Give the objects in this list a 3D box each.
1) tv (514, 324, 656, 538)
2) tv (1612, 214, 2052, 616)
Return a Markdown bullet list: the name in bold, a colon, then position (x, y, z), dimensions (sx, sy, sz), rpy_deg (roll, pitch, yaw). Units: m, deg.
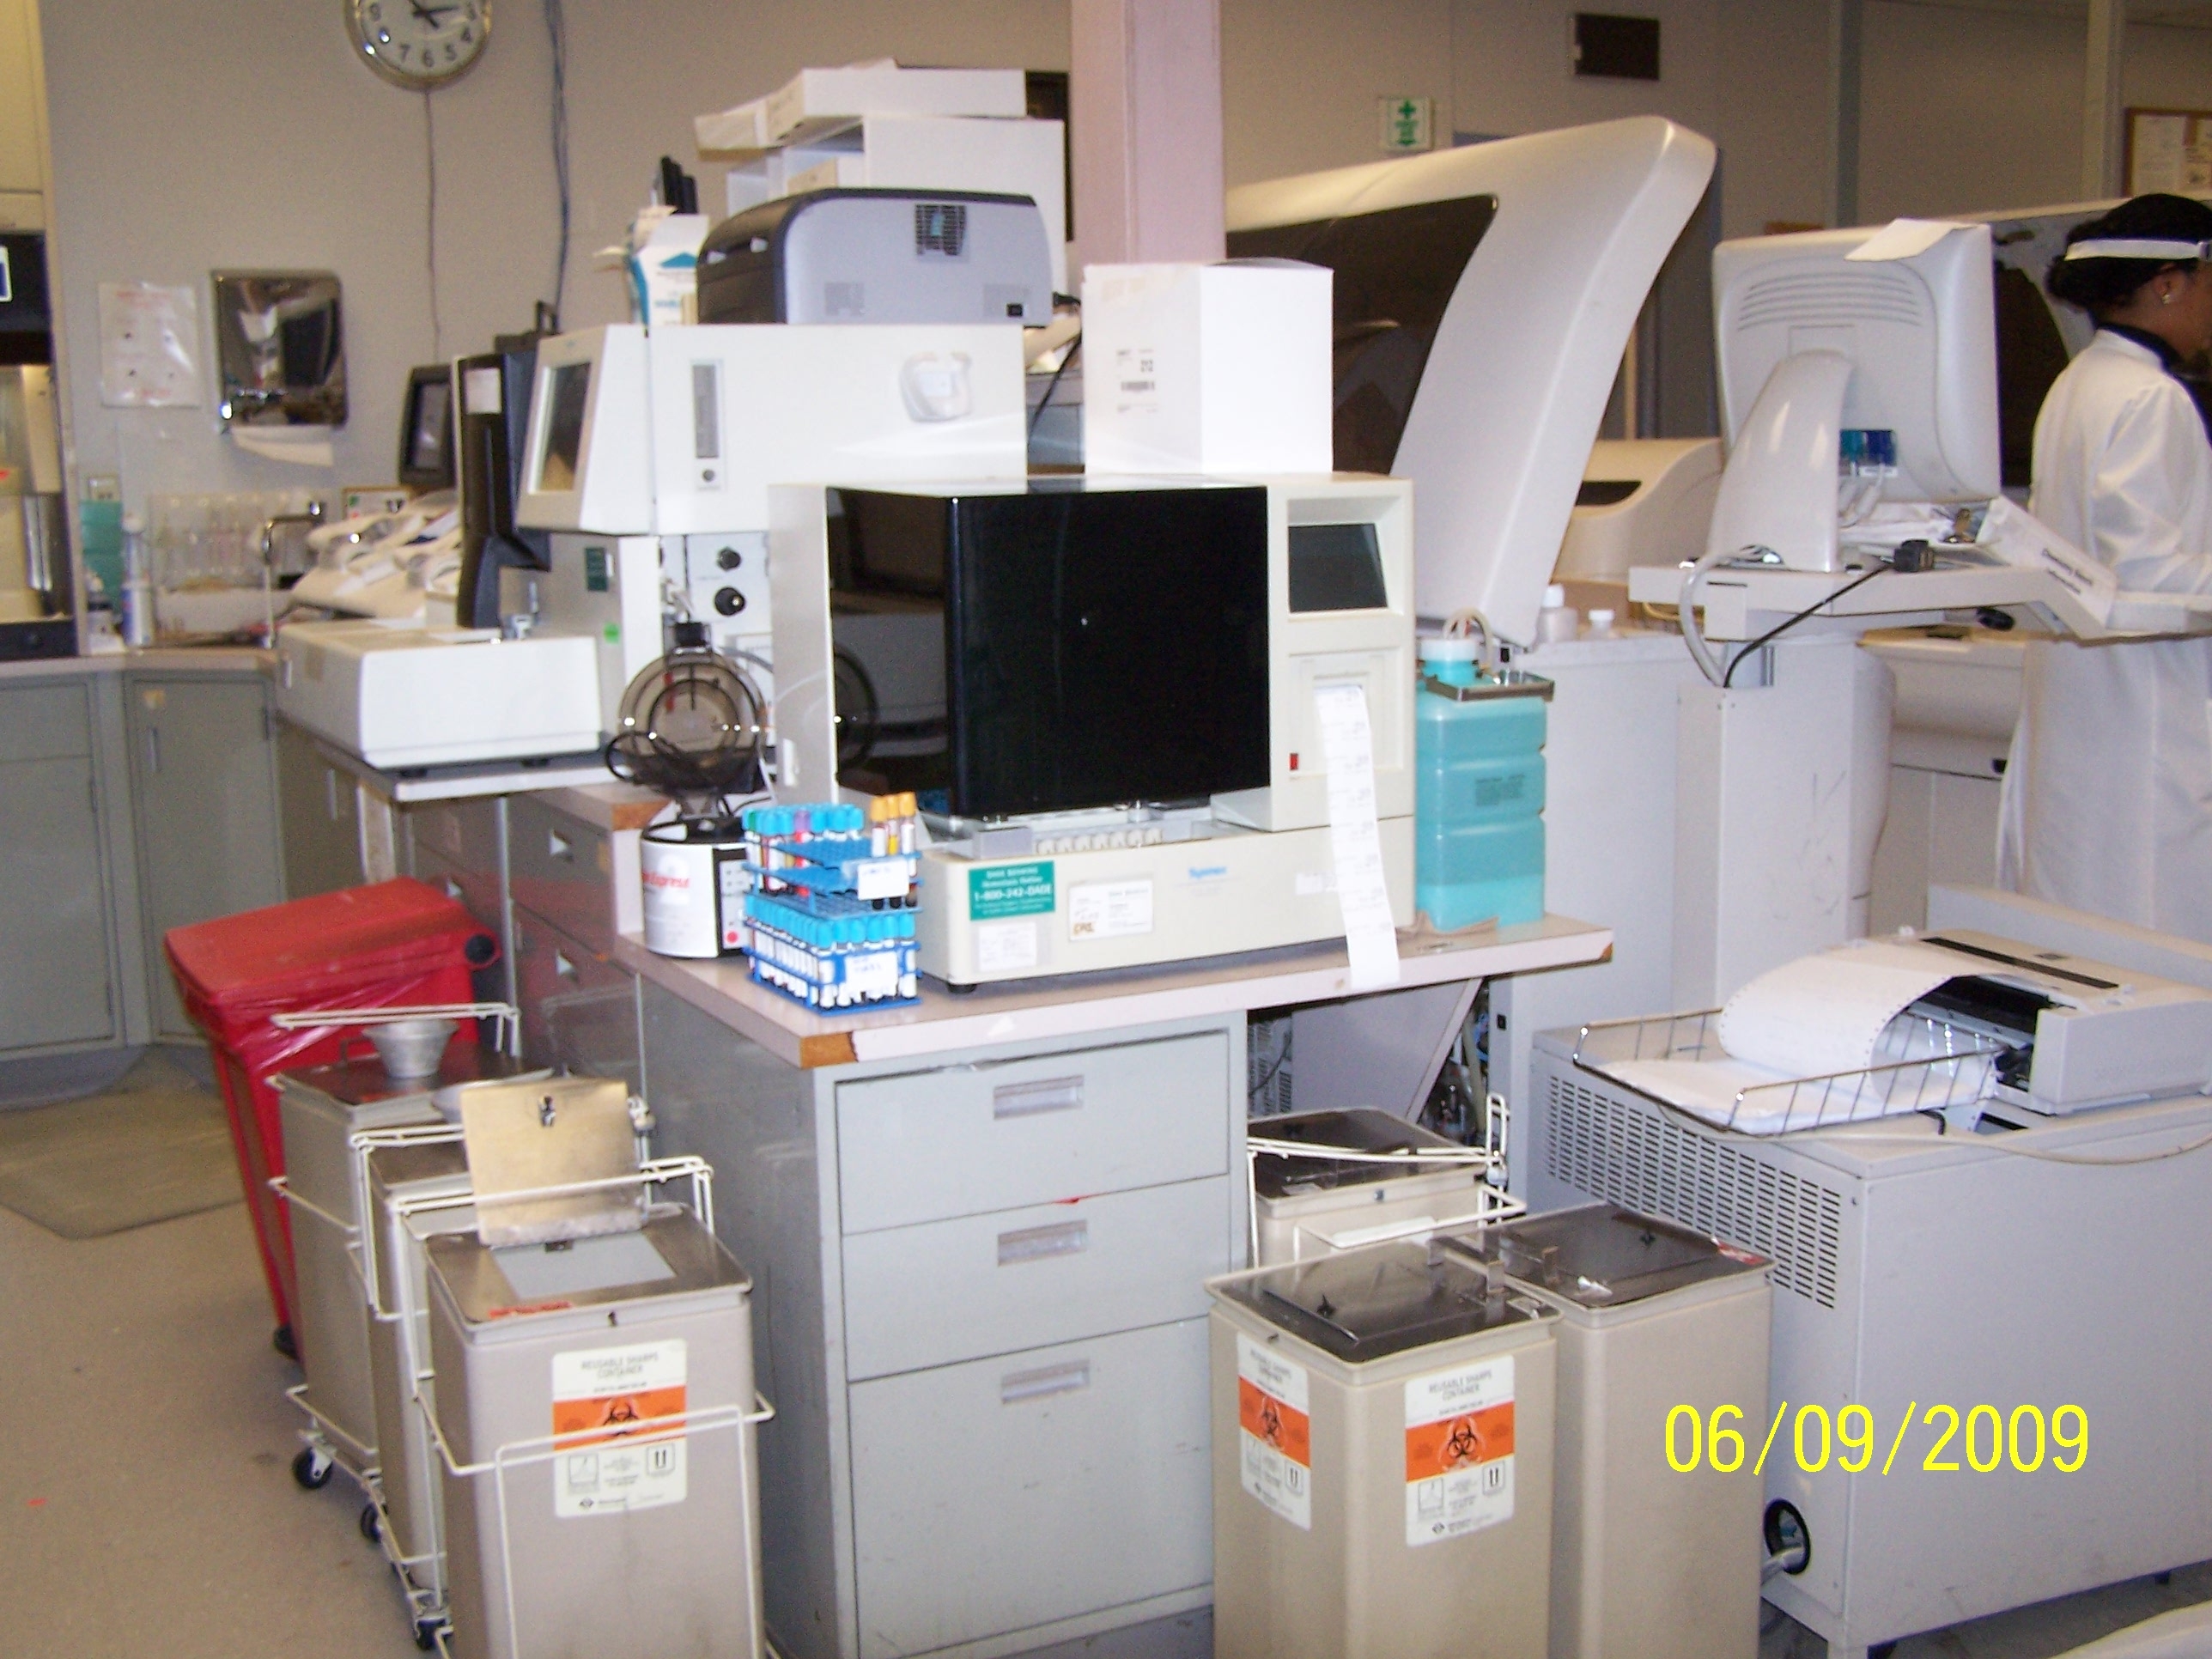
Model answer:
- **tv**: position (-0.846, -0.647, 3.176), dimensions (0.133, 0.350, 0.375), rpy_deg (-2, 8, -32)
- **tv**: position (1.295, -0.840, 3.597), dimensions (0.444, 0.857, 0.920), rpy_deg (-25, 29, -31)
